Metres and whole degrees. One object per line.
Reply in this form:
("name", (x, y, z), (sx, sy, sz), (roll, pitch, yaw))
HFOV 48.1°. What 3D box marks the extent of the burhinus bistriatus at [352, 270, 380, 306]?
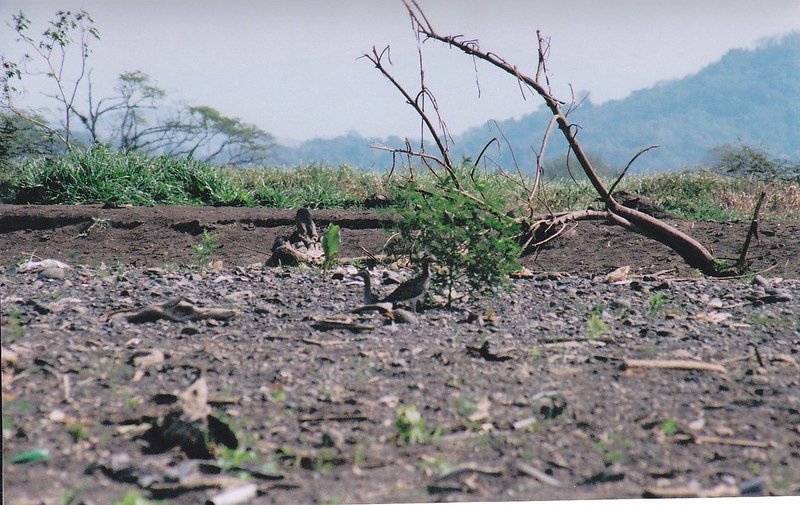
("burhinus bistriatus", (-0.296, 0.304, 8.840), (0.182, 0.320, 0.611), (-4, 10, -2))
